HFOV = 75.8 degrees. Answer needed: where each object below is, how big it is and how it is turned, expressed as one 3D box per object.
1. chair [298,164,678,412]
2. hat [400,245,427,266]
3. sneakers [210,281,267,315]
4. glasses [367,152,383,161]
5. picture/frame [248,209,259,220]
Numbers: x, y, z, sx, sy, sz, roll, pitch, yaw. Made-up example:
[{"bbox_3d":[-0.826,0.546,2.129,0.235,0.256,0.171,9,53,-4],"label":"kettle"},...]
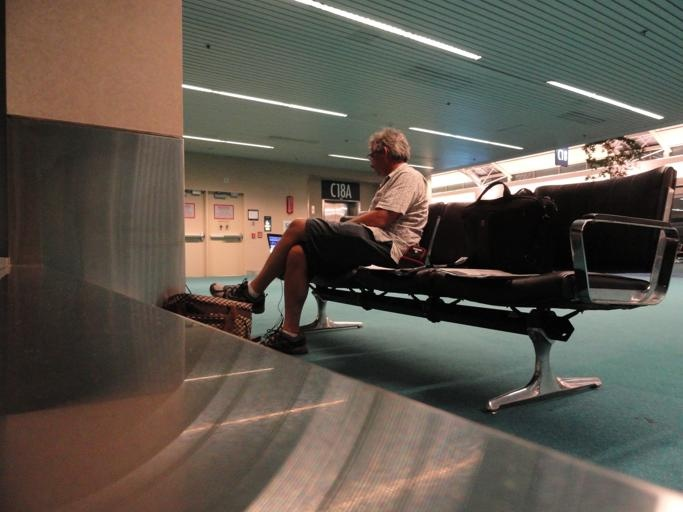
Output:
[{"bbox_3d":[0.653,0.123,1.963,0.960,0.889,1.337,-12,8,-31],"label":"chair"},{"bbox_3d":[0.373,0.004,2.245,0.089,0.111,0.120,18,4,15],"label":"hat"},{"bbox_3d":[-0.520,0.186,2.196,0.318,0.135,0.116,16,-2,10],"label":"sneakers"},{"bbox_3d":[0.194,-0.567,2.512,0.071,0.060,0.054,2,8,-43],"label":"glasses"},{"bbox_3d":[-2.231,-1.035,11.019,0.291,0.257,0.098,1,-3,-22],"label":"picture/frame"}]
